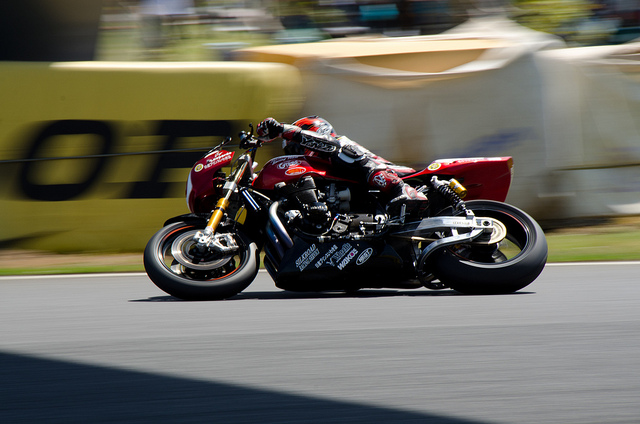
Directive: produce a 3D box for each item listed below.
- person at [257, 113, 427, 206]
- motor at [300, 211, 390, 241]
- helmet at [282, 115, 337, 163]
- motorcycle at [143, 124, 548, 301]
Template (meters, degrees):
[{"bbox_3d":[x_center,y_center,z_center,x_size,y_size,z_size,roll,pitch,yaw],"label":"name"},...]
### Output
[{"bbox_3d":[0.212,-0.518,5.240,1.593,0.457,0.848,18,1,1],"label":"person"},{"bbox_3d":[0.281,0.125,5.040,1.062,0.251,0.255,-2,-2,-5],"label":"motor"},{"bbox_3d":[-0.014,-0.759,5.556,0.676,0.407,0.491,0,11,35],"label":"helmet"},{"bbox_3d":[0.203,0.195,5.169,3.400,1.333,1.226,-1,39,0],"label":"motorcycle"}]
